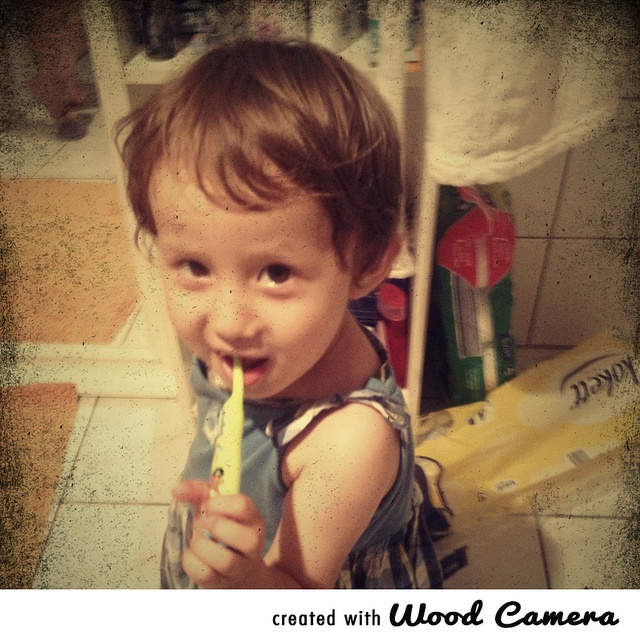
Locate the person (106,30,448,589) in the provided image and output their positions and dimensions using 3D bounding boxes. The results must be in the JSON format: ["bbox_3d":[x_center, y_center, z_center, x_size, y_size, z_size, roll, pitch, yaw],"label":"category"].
[{"bbox_3d":[-0.044,0.050,0.882,0.375,0.722,0.407,-10,39,-6],"label":"person"}]

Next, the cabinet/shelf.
[{"bbox_3d":[-0.054,-0.320,1.213,0.441,0.927,0.456,-2,28,-1],"label":"cabinet/shelf"}]
